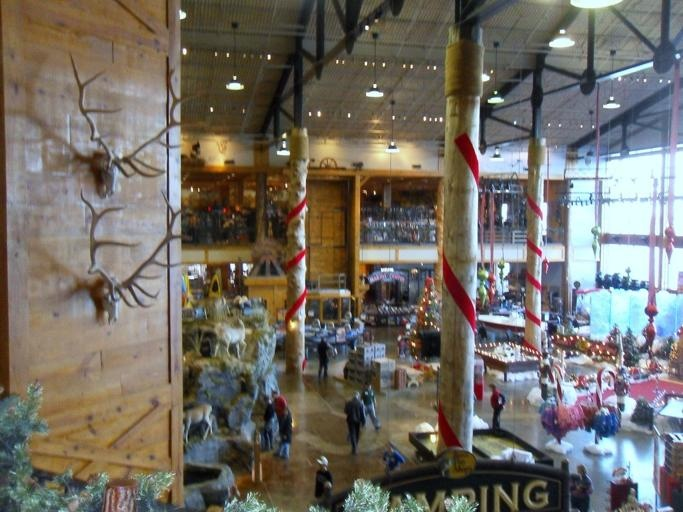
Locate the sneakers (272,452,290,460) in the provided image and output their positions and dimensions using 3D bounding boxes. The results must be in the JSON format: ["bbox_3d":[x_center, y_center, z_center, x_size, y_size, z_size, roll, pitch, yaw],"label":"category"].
[{"bbox_3d":[-1.079,3.579,10.759,0.315,0.163,0.115,-5,-3,26],"label":"sneakers"}]

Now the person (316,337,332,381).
[{"bbox_3d":[-0.471,2.725,15.839,0.265,0.843,0.600,0,0,-4],"label":"person"}]

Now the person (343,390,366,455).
[{"bbox_3d":[0.266,2.997,11.105,0.355,1.082,0.298,7,17,16],"label":"person"}]
